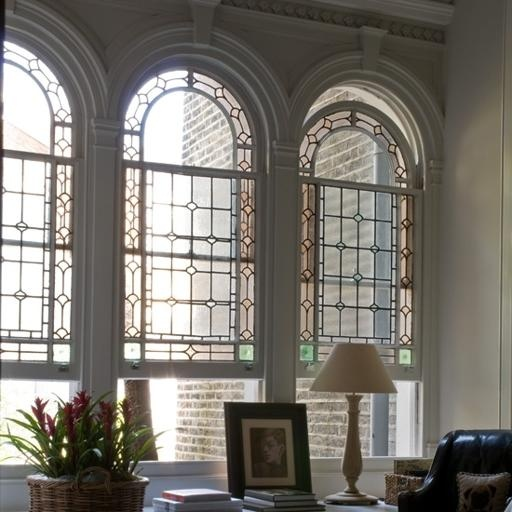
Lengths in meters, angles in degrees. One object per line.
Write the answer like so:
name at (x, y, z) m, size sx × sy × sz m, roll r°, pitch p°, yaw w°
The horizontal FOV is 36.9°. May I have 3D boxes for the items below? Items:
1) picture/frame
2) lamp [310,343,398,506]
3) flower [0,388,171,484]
picture/frame at (0.075, 1.220, 4.774) m, size 0.421 × 0.582 × 0.032 m, roll -1°, pitch 18°, yaw 3°
lamp at (0.602, 1.032, 4.772) m, size 0.532 × 0.977 × 0.315 m, roll 0°, pitch -8°, yaw -4°
flower at (-0.798, 0.840, 3.569) m, size 0.627 × 0.413 × 0.340 m, roll 1°, pitch -8°, yaw -11°
